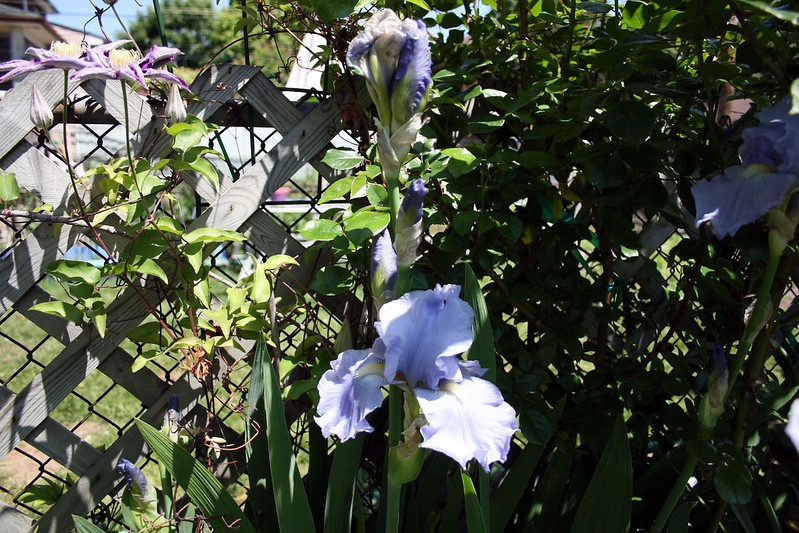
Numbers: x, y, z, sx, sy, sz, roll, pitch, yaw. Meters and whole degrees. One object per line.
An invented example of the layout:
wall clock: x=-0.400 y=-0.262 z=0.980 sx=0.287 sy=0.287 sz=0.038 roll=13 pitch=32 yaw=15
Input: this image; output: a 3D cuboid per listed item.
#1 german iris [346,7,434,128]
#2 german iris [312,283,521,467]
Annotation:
german iris: x=-0.014 y=-0.450 z=1.707 sx=0.185 sy=0.174 sz=0.313 roll=-7 pitch=-74 yaw=-16
german iris: x=0.035 y=0.248 z=1.749 sx=0.443 sy=0.558 sz=0.243 roll=6 pitch=-70 yaw=-2
